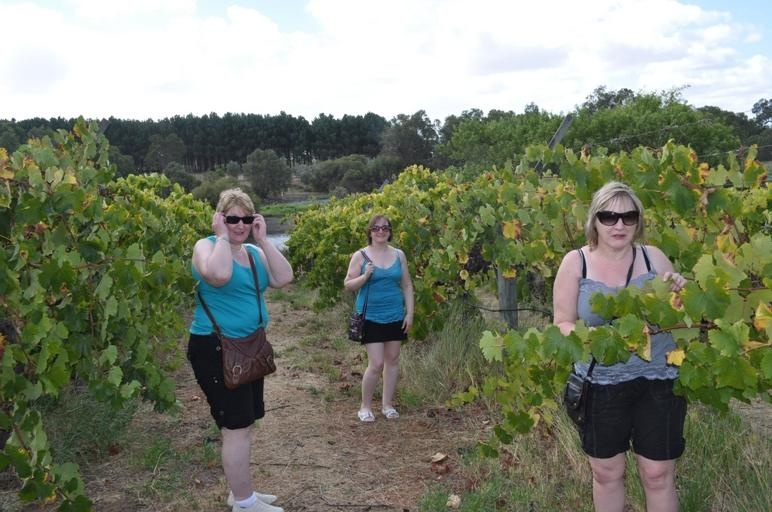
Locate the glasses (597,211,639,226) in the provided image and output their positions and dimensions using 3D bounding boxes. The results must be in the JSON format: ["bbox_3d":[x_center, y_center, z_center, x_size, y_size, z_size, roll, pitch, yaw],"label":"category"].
[{"bbox_3d":[1.609,-0.271,3.894,0.287,0.099,0.087,-1,8,-4],"label":"glasses"}]

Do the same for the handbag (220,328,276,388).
[{"bbox_3d":[-1.107,0.812,4.502,0.440,0.395,0.187,-7,6,-44],"label":"handbag"}]

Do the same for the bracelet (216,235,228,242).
[{"bbox_3d":[-1.312,-0.150,4.475,0.093,0.037,0.078,0,8,-1],"label":"bracelet"}]

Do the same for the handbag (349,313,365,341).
[{"bbox_3d":[-0.327,0.767,6.092,0.117,0.321,0.230,-6,9,-37],"label":"handbag"}]

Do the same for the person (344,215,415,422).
[{"bbox_3d":[-0.079,0.697,6.178,0.719,2.291,0.397,0,7,0],"label":"person"}]

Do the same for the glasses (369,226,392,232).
[{"bbox_3d":[-0.072,-0.313,6.095,0.214,0.069,0.078,0,8,-1],"label":"glasses"}]
